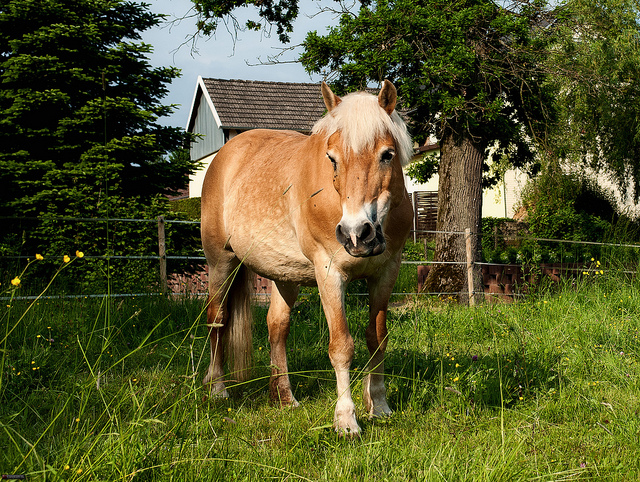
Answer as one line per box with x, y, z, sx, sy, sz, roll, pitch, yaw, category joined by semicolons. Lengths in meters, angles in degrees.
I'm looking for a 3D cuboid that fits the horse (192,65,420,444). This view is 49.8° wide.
-0.279;0.213;7.891;1.167;3.780;4.157;-4;5;-31;horse
